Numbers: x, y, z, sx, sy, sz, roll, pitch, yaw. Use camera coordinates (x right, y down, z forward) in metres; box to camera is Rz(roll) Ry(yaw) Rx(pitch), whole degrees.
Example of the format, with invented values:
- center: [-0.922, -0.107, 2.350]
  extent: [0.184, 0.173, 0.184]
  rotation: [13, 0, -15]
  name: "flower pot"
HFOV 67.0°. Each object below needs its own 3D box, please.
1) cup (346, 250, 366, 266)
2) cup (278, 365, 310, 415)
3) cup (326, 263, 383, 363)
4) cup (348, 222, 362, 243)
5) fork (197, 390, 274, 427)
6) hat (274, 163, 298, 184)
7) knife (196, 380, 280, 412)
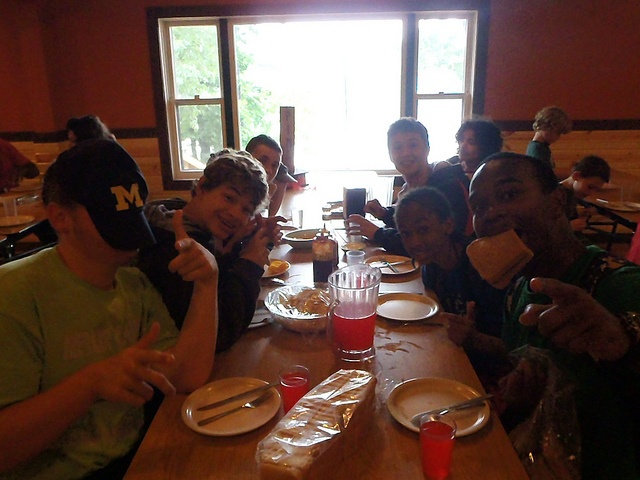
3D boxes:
- center: [0.199, 0.092, 2.661]
  extent: [0.083, 0.061, 0.083]
  rotation: [0, 11, 0]
  name: "cup"
- center: [-0.086, 0.480, 1.581]
  extent: [0.115, 0.135, 0.123]
  rotation: [-1, 20, 0]
  name: "cup"
- center: [0.198, 0.258, 1.868]
  extent: [0.187, 0.326, 0.335]
  rotation: [13, 28, 35]
  name: "cup"
- center: [0.219, -0.043, 3.027]
  extent: [0.085, 0.114, 0.116]
  rotation: [0, -2, 0]
  name: "cup"
- center: [-0.268, 0.548, 1.563]
  extent: [0.185, 0.027, 0.025]
  rotation: [-18, 41, -20]
  name: "fork"
- center: [-0.267, -0.564, 4.172]
  extent: [0.226, 0.071, 0.141]
  rotation: [8, 20, -33]
  name: "hat"
- center: [-0.269, 0.521, 1.607]
  extent: [0.227, 0.010, 0.026]
  rotation: [-18, 45, -15]
  name: "knife"
